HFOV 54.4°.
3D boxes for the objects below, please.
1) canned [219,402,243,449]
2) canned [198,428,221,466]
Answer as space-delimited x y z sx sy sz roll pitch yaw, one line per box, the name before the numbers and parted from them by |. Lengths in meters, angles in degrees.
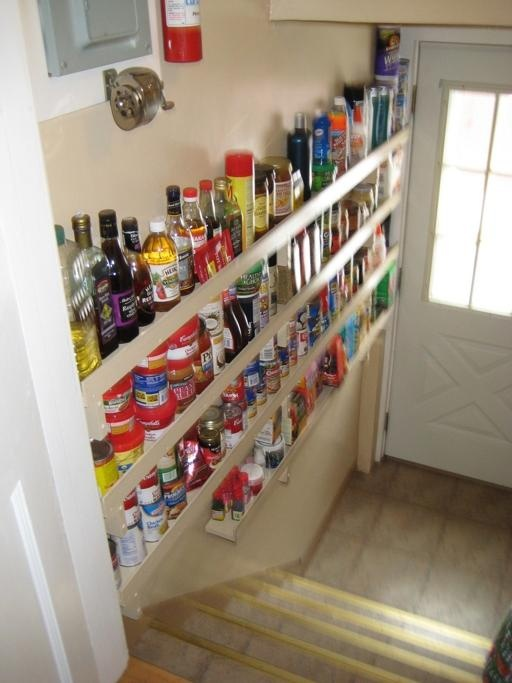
canned | -0.074 0.261 1.556 0.088 0.119 0.103 4 31 4
canned | -0.140 0.304 1.464 0.070 0.150 0.082 -2 15 -2
